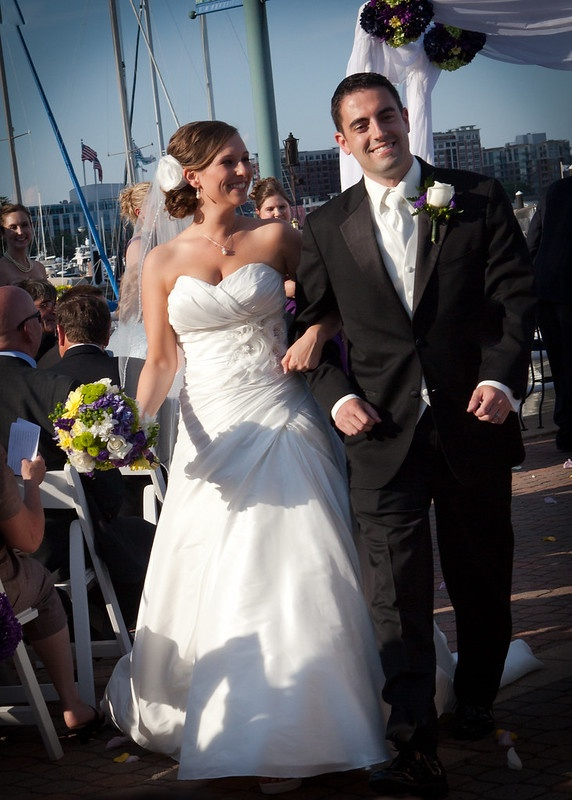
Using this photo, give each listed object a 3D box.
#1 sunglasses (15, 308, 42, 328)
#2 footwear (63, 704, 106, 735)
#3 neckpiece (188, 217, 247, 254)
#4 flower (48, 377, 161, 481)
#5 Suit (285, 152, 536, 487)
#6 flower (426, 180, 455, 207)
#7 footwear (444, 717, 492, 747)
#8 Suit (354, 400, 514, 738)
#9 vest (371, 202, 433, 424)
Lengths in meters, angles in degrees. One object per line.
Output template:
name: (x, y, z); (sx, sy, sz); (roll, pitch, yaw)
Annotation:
sunglasses: (-1.270, -0.406, 3.276); (0.108, 0.032, 0.107); (-35, 8, -12)
footwear: (-0.773, 1.266, 2.627); (0.081, 0.068, 0.198); (-5, 10, 14)
neckpiece: (-0.263, -0.623, 2.597); (0.198, 0.127, 0.050); (-8, -14, 3)
flower: (-0.620, 0.133, 2.438); (0.406, 0.234, 0.301); (11, 38, -1)
Suit: (0.372, -0.221, 2.045); (0.738, 0.831, 0.265); (6, 2, 31)
flower: (0.426, -0.577, 1.907); (0.075, 0.071, 0.070); (12, 6, 4)
footwear: (0.593, 1.069, 2.219); (0.134, 0.076, 0.072); (-6, 8, -15)
Suit: (0.457, 0.463, 2.096); (0.486, 0.925, 0.306); (1, -10, -8)
vest: (0.358, -0.283, 2.039); (0.156, 0.585, 0.108); (-8, -10, 31)
